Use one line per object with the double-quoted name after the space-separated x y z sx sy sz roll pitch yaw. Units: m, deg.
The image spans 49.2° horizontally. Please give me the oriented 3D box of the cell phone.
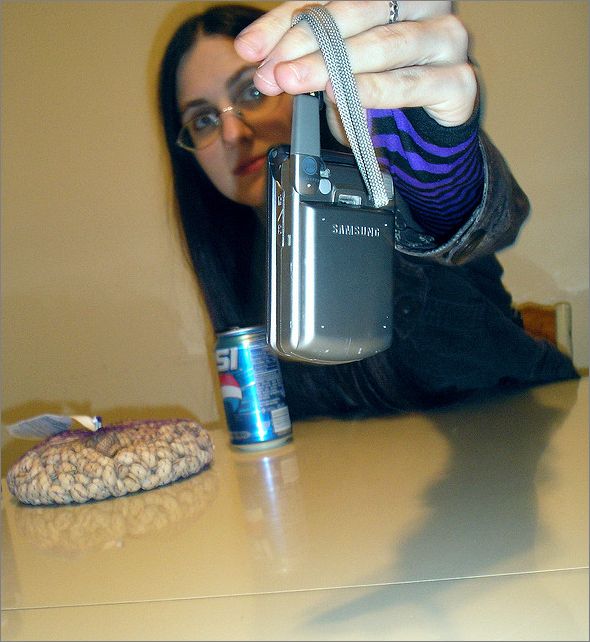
0.024 -0.065 0.468 0.111 0.166 0.045 -12 3 -32 "cell phone"
